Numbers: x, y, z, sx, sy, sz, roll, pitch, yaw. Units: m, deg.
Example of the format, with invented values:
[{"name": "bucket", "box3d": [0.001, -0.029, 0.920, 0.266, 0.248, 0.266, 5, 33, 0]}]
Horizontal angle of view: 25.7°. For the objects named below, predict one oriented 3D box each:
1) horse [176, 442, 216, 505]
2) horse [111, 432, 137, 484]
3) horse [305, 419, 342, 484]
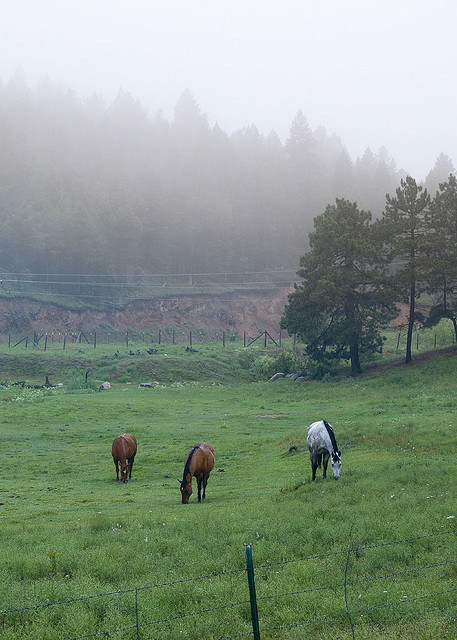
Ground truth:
[{"name": "horse", "box3d": [-1.065, 5.492, 36.171, 0.764, 2.001, 3.121, 2, 8, 18]}, {"name": "horse", "box3d": [-4.260, 5.525, 40.352, 0.714, 1.917, 3.124, 3, 8, -7]}, {"name": "horse", "box3d": [3.223, 4.527, 35.205, 0.747, 2.201, 3.037, -1, 3, -14]}]
